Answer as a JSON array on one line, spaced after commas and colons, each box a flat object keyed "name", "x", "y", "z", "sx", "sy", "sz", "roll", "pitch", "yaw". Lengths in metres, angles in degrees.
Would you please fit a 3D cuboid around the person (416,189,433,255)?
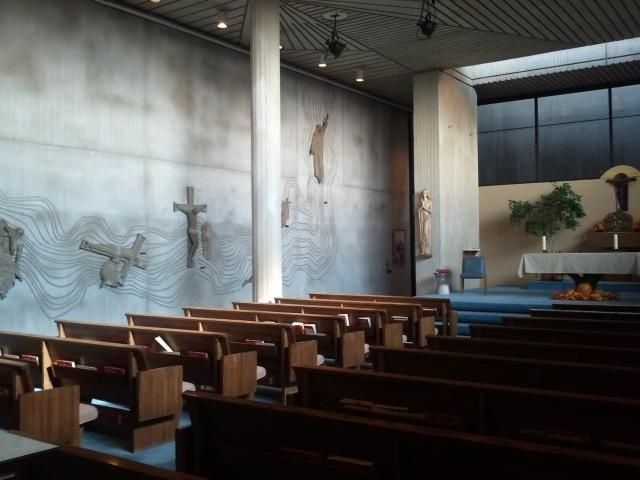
[{"name": "person", "x": 2.224, "y": -0.338, "z": 12.082, "sx": 0.332, "sy": 1.425, "sz": 0.250, "roll": -1, "pitch": 2, "yaw": 11}]

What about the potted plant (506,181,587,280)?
[{"name": "potted plant", "x": 5.038, "y": -0.399, "z": 12.721, "sx": 1.606, "sy": 1.815, "sz": 1.504, "roll": 1, "pitch": 5, "yaw": 10}]

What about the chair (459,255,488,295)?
[{"name": "chair", "x": 2.903, "y": 0.664, "z": 10.736, "sx": 0.449, "sy": 0.664, "sz": 0.483, "roll": 0, "pitch": 2, "yaw": 21}]

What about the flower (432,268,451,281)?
[{"name": "flower", "x": 2.545, "y": 0.716, "z": 11.692, "sx": 0.259, "sy": 0.270, "sz": 0.263, "roll": 0, "pitch": -8, "yaw": 4}]

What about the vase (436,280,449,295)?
[{"name": "vase", "x": 2.549, "y": 1.012, "z": 11.675, "sx": 0.215, "sy": 0.223, "sz": 0.223, "roll": 4, "pitch": -3, "yaw": -17}]

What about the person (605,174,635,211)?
[{"name": "person", "x": 6.595, "y": -1.056, "z": 12.363, "sx": 0.594, "sy": 0.807, "sz": 0.330, "roll": 0, "pitch": 2, "yaw": 28}]
